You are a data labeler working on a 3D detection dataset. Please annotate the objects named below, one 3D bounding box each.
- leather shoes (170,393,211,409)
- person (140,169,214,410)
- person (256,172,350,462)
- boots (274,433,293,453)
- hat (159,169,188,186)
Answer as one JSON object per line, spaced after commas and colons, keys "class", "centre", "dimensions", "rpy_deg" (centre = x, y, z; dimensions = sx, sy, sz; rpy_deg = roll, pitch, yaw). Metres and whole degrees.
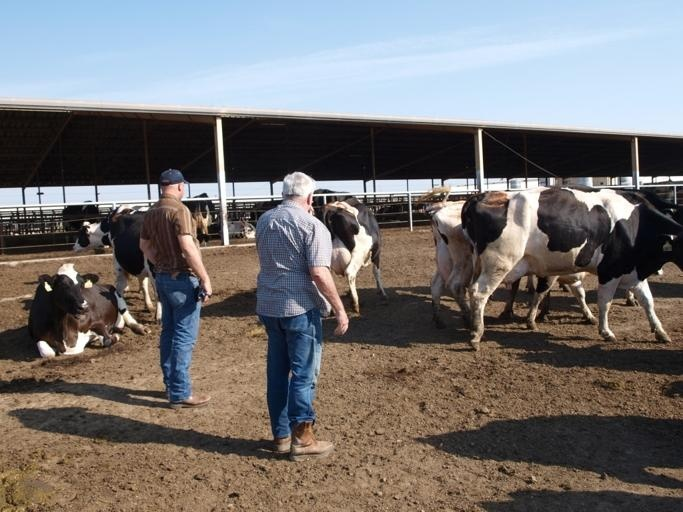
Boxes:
{"class": "leather shoes", "centre": [-1.540, 1.461, 5.757], "dimensions": [0.369, 0.132, 0.139], "rpy_deg": [-3, 8, -21]}
{"class": "person", "centre": [-1.657, 0.341, 5.725], "dimensions": [0.584, 2.396, 0.727], "rpy_deg": [-7, 14, -19]}
{"class": "person", "centre": [-0.337, 0.653, 4.856], "dimensions": [0.709, 2.159, 0.667], "rpy_deg": [-5, 14, -12]}
{"class": "boots", "centre": [-0.502, 1.665, 4.977], "dimensions": [0.115, 0.129, 0.206], "rpy_deg": [1, 1, 12]}
{"class": "hat", "centre": [-1.726, -0.821, 5.852], "dimensions": [0.191, 0.135, 0.283], "rpy_deg": [3, 14, 23]}
